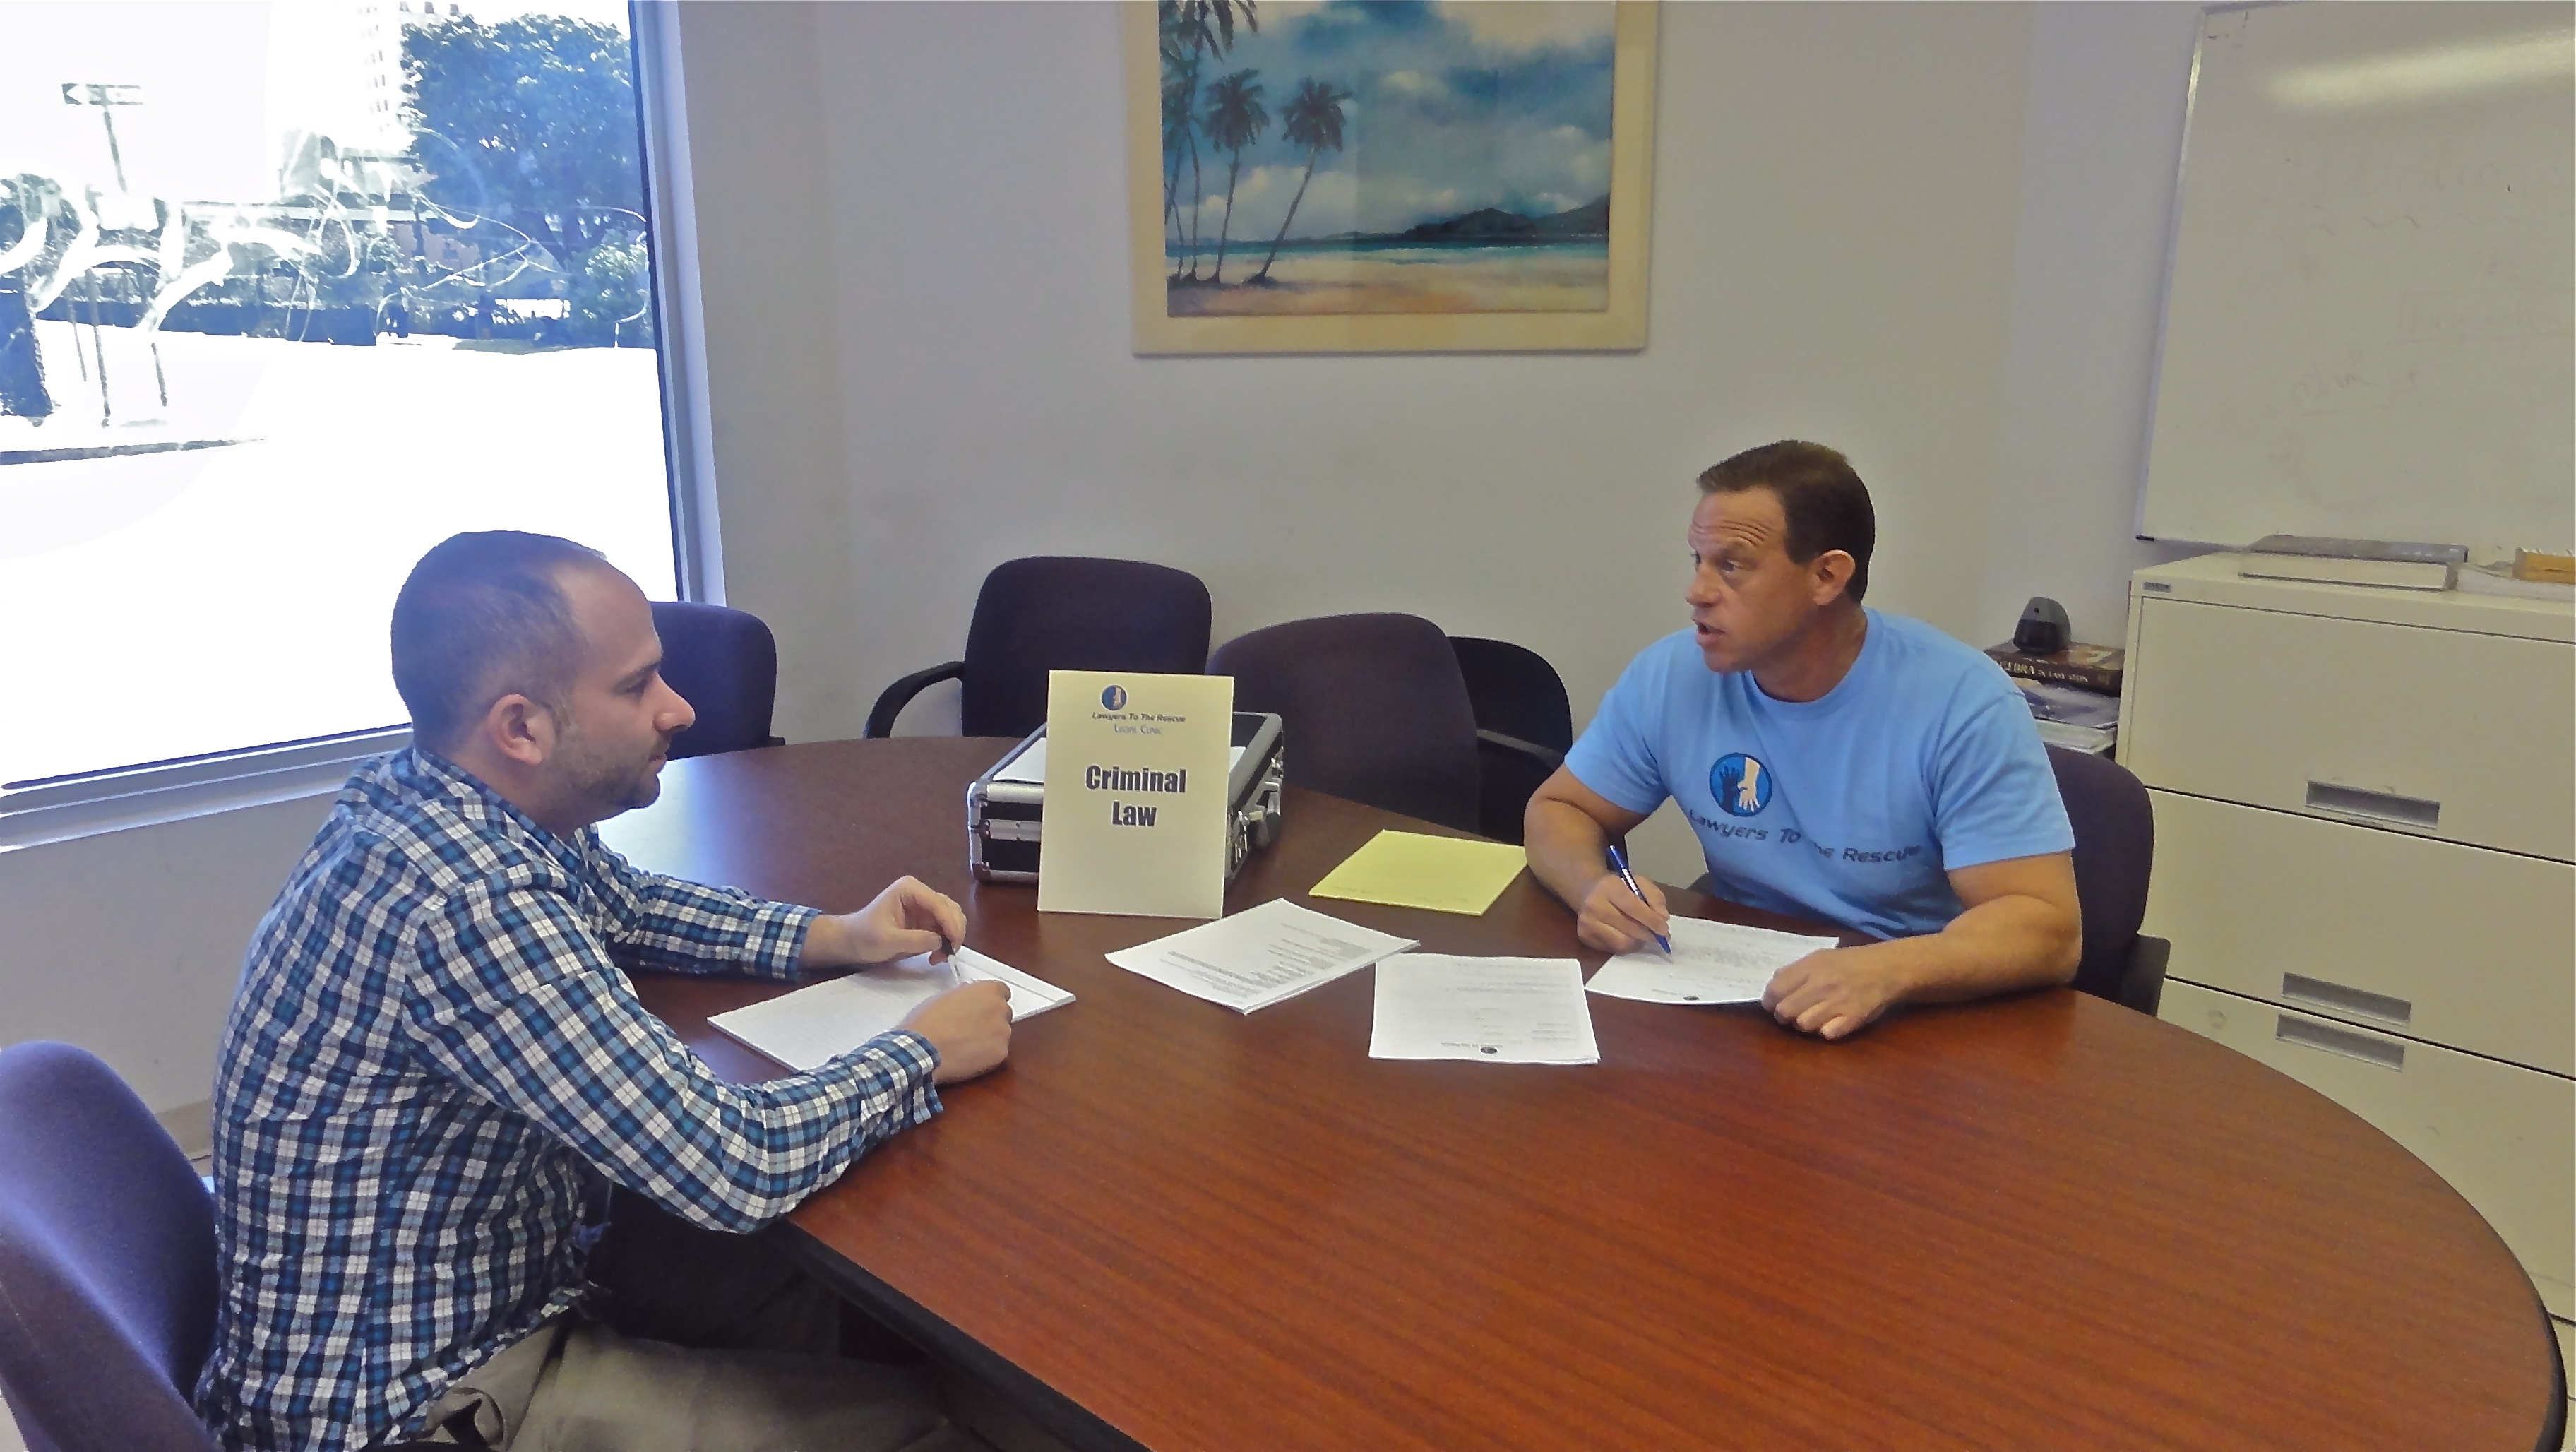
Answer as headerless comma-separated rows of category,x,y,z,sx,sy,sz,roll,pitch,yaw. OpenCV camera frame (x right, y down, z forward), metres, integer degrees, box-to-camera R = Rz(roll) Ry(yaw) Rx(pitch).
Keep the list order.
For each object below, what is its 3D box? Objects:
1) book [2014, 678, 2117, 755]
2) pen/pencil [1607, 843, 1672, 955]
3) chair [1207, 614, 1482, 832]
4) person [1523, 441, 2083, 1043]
book,2.069,-0.019,4.210,0.324,0.072,0.322,10,15,32
pen/pencil,0.712,0.352,3.270,0.028,0.028,0.251,6,39,-32
chair,0.154,-0.026,4.157,0.567,0.688,0.574,-6,8,-14
person,1.031,-0.011,3.279,0.866,1.018,1.218,-16,17,-35
